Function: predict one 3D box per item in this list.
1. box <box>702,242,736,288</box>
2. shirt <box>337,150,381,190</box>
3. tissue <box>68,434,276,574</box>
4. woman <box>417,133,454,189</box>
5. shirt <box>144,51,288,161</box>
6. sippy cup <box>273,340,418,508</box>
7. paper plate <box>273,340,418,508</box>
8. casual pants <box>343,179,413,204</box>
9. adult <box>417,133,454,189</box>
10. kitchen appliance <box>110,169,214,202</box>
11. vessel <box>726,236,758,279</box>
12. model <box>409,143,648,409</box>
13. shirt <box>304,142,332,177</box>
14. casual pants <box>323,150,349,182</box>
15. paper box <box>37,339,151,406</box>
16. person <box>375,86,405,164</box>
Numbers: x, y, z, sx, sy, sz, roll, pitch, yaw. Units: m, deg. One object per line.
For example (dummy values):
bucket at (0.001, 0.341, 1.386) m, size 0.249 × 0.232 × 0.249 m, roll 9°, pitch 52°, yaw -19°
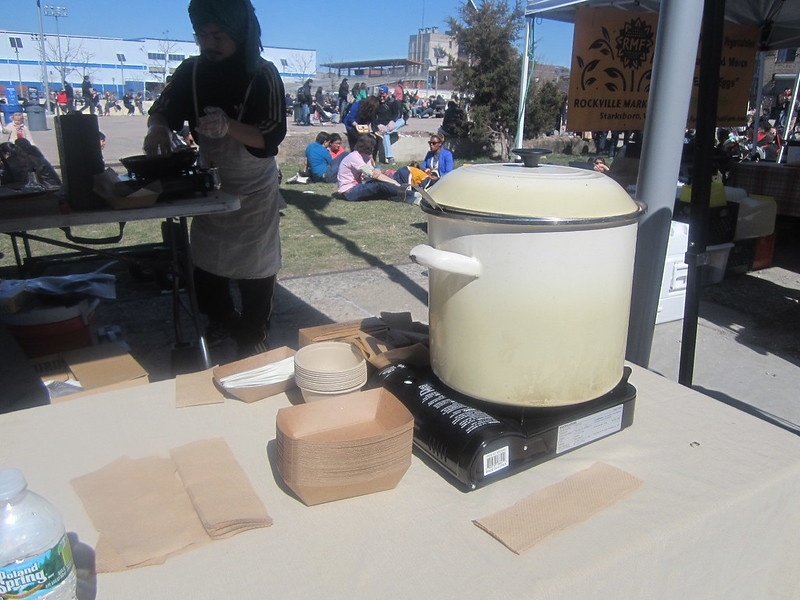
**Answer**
box at (3.064, -0.347, 5.340) m, size 0.393 × 0.436 × 0.352 m, roll 1°, pitch 4°, yaw 39°
shirt at (-0.804, -2.070, 9.162) m, size 0.521 × 0.472 × 0.570 m, roll 1°, pitch 0°, yaw 35°
tissue at (-0.483, 0.414, 1.143) m, size 0.309 × 0.043 × 0.369 m, roll -15°, pitch 26°, yaw -34°
woman at (0.594, -2.477, 10.256) m, size 0.720 × 1.255 × 0.594 m, roll -17°, pitch 26°, yaw -40°
shirt at (-0.875, -1.024, 2.784) m, size 0.551 × 0.383 × 0.578 m, roll 15°, pitch 40°, yaw 5°
sippy cup at (-0.122, 0.311, 1.179) m, size 0.279 × 0.175 × 0.175 m, roll -7°, pitch 22°, yaw -17°
paper plate at (-0.144, 0.234, 1.206) m, size 0.217 × 0.123 × 0.329 m, roll -5°, pitch 25°, yaw -27°
casual pants at (-0.429, -1.759, 8.991) m, size 0.797 × 0.256 × 0.479 m, roll -1°, pitch 11°, yaw -11°
adult at (0.598, -2.474, 10.246) m, size 0.729 × 1.213 × 0.597 m, roll -19°, pitch 28°, yaw -41°
kitchen appliance at (-1.091, -0.547, 2.646) m, size 0.437 × 0.130 × 0.297 m, roll -9°, pitch 23°, yaw -22°
vessel at (3.372, -0.430, 5.457) m, size 0.306 × 0.310 × 0.225 m, roll -13°, pitch 22°, yaw -22°
model at (0.289, -0.048, 1.262) m, size 0.512 × 0.548 × 0.272 m, roll 4°, pitch 21°, yaw 12°
shirt at (-1.600, -2.679, 10.622) m, size 0.564 × 0.678 × 0.389 m, roll 4°, pitch 12°, yaw 29°
casual pants at (-1.251, -2.448, 10.336) m, size 0.235 × 0.632 × 0.473 m, roll 24°, pitch -2°, yaw -6°
paper box at (-1.463, 0.313, 2.604) m, size 0.409 × 0.106 × 0.637 m, roll -17°, pitch 26°, yaw -36°
person at (-0.295, -4.202, 13.251) m, size 0.753 × 1.744 × 1.009 m, roll -6°, pitch 23°, yaw 5°
